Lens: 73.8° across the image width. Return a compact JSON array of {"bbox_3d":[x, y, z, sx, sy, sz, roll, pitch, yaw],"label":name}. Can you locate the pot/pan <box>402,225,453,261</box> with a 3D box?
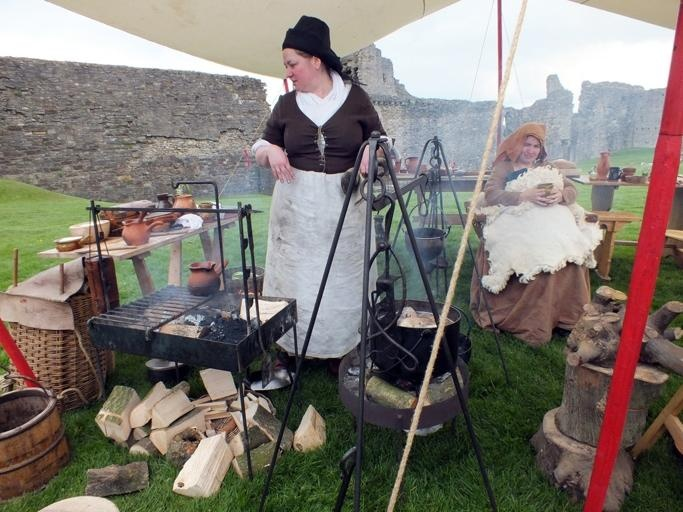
[{"bbox_3d":[0.974,-0.151,4.870,0.435,0.309,0.447,-1,11,0],"label":"pot/pan"}]

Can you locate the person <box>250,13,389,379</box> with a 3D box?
[{"bbox_3d":[-0.203,-0.400,3.733,1.002,2.890,0.595,1,16,4],"label":"person"}]

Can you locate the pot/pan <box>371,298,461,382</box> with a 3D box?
[{"bbox_3d":[0.506,0.628,3.204,0.622,0.465,0.623,0,8,5],"label":"pot/pan"}]

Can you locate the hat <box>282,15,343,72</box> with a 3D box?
[{"bbox_3d":[-0.204,-1.612,3.547,0.309,0.277,0.447,25,13,33],"label":"hat"}]

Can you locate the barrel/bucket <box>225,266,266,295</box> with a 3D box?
[{"bbox_3d":[-1.044,0.238,4.632,0.375,0.267,0.373,2,12,0],"label":"barrel/bucket"}]

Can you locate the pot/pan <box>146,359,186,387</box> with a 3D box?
[{"bbox_3d":[-1.540,1.009,3.979,0.406,0.180,0.402,1,7,-8],"label":"pot/pan"}]

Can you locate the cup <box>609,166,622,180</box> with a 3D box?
[{"bbox_3d":[4.296,-1.295,7.086,0.209,0.204,0.140,11,8,13],"label":"cup"}]

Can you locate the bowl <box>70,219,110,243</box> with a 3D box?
[{"bbox_3d":[-2.265,-0.232,4.069,0.323,0.141,0.307,-1,11,0],"label":"bowl"}]
